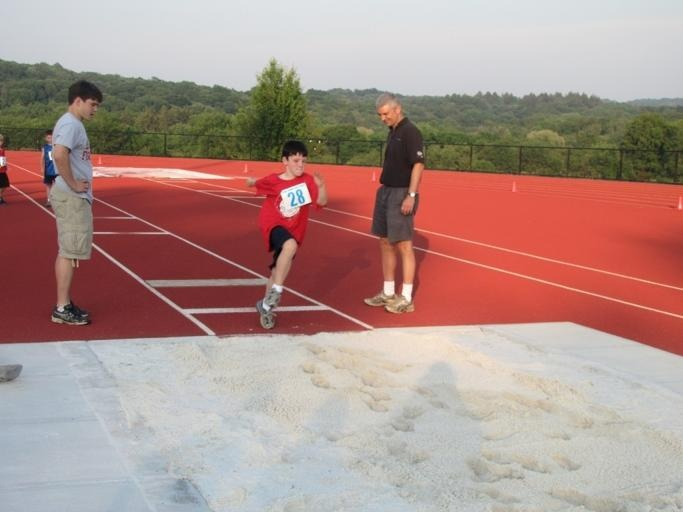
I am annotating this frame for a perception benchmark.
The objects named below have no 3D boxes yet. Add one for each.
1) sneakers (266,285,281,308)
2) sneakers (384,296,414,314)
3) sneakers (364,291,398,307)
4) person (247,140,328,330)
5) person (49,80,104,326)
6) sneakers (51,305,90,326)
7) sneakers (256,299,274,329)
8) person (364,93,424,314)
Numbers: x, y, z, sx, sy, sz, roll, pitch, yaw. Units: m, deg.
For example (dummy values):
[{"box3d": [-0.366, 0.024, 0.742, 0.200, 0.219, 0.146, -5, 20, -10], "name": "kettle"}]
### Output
[{"box3d": [-0.650, 0.394, 5.288, 0.137, 0.217, 0.084, 13, -2, -12], "name": "sneakers"}, {"box3d": [0.629, 0.559, 6.111, 0.331, 0.154, 0.141, 1, -2, -27], "name": "sneakers"}, {"box3d": [0.431, 0.507, 6.389, 0.327, 0.151, 0.154, 1, -2, 0], "name": "sneakers"}, {"box3d": [-0.568, -0.282, 5.709, 0.796, 1.823, 1.204, 0, 10, -9], "name": "person"}, {"box3d": [-2.608, -0.562, 5.451, 0.528, 2.317, 1.059, -2, 10, -23], "name": "person"}, {"box3d": [-2.515, 0.561, 5.239, 0.379, 0.182, 0.152, 3, 6, -3], "name": "sneakers"}, {"box3d": [-0.722, 0.559, 5.331, 0.164, 0.252, 0.257, 1, 10, -6], "name": "sneakers"}, {"box3d": [0.597, -0.588, 6.182, 0.471, 2.391, 0.585, -3, 11, -28], "name": "person"}]
